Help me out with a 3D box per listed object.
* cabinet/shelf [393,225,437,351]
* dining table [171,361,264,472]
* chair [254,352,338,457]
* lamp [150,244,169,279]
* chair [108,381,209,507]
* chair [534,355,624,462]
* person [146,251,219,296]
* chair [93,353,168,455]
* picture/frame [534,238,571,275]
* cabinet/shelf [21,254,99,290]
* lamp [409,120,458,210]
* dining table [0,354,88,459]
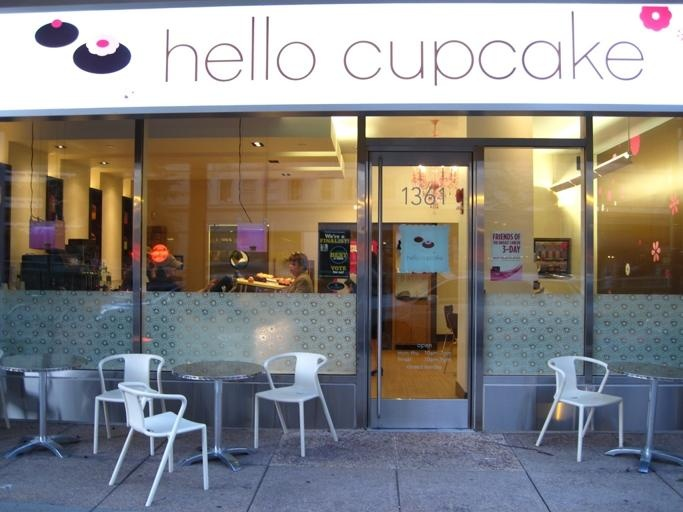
[{"bbox_3d":[0.802,0.366,7.144,0.461,1.254,0.153,-1,-4,30],"label":"cabinet/shelf"},{"bbox_3d":[-1.158,1.520,6.133,0.836,0.831,0.859,-8,-11,23],"label":"dining table"},{"bbox_3d":[-0.494,1.461,6.481,0.733,0.905,0.726,2,-1,-44],"label":"chair"},{"bbox_3d":[-2.048,0.054,7.192,0.241,0.335,0.142,3,-4,4],"label":"lamp"},{"bbox_3d":[-1.649,1.485,5.710,0.863,0.983,1.156,-6,10,-32],"label":"chair"},{"bbox_3d":[2.396,1.492,6.443,0.666,0.885,0.569,-2,2,-24],"label":"chair"},{"bbox_3d":[-1.912,0.224,7.296,0.737,0.516,0.404,1,-4,-4],"label":"person"},{"bbox_3d":[-2.087,1.425,6.251,0.692,0.883,0.693,4,2,21],"label":"chair"},{"bbox_3d":[2.300,0.029,7.158,0.368,0.370,0.286,0,-5,8],"label":"picture/frame"},{"bbox_3d":[-3.368,0.260,7.698,0.604,0.599,0.878,-2,-2,16],"label":"cabinet/shelf"},{"bbox_3d":[1.032,-1.004,7.146,0.487,0.924,0.518,2,-2,-8],"label":"lamp"},{"bbox_3d":[-3.028,1.474,6.395,0.900,0.923,0.850,0,-1,36],"label":"dining table"}]
